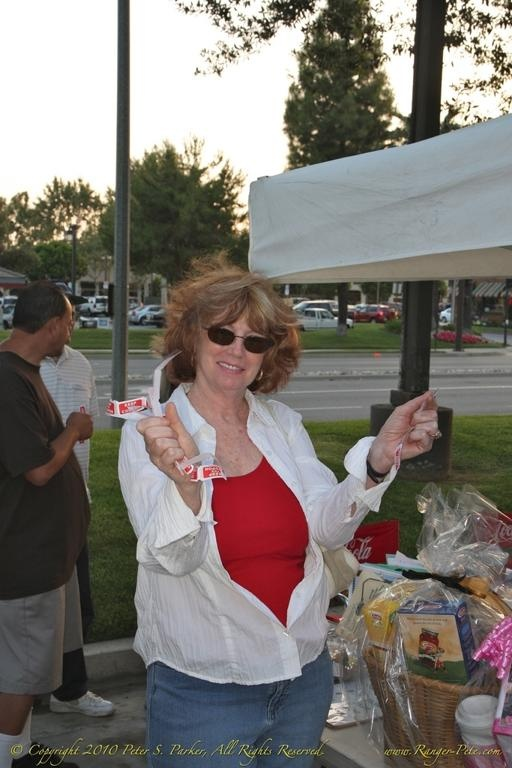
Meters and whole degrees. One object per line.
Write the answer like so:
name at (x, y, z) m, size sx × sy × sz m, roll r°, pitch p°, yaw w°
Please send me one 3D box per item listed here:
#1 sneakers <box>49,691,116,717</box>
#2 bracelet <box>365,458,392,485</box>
sneakers at (-0.808, 1.519, 3.570) m, size 0.335 × 0.132 × 0.118 m, roll 2°, pitch -1°, yaw -7°
bracelet at (0.304, 0.232, 1.937) m, size 0.053 × 0.066 × 0.024 m, roll 6°, pitch 9°, yaw 10°
